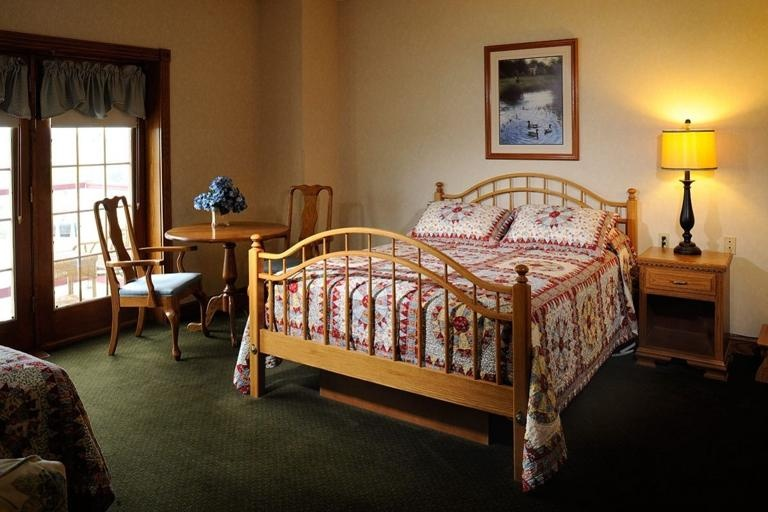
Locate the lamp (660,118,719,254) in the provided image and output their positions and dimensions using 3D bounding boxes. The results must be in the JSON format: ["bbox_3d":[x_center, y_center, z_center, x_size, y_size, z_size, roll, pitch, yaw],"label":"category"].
[{"bbox_3d":[2.406,-0.570,4.518,0.402,1.038,0.433,8,15,27],"label":"lamp"}]

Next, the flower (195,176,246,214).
[{"bbox_3d":[-1.435,-0.553,5.119,0.456,0.264,0.432,3,16,11],"label":"flower"}]

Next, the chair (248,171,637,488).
[{"bbox_3d":[0.827,0.259,4.239,2.074,1.408,2.419,4,9,34],"label":"chair"}]

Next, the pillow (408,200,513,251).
[{"bbox_3d":[0.657,-0.283,4.847,0.556,0.135,0.502,9,51,34],"label":"pillow"}]

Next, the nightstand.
[{"bbox_3d":[2.271,0.506,4.435,0.665,0.890,0.515,5,-17,15],"label":"nightstand"}]

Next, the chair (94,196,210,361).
[{"bbox_3d":[-1.984,0.105,4.834,0.809,1.226,1.223,-6,15,-26],"label":"chair"}]
